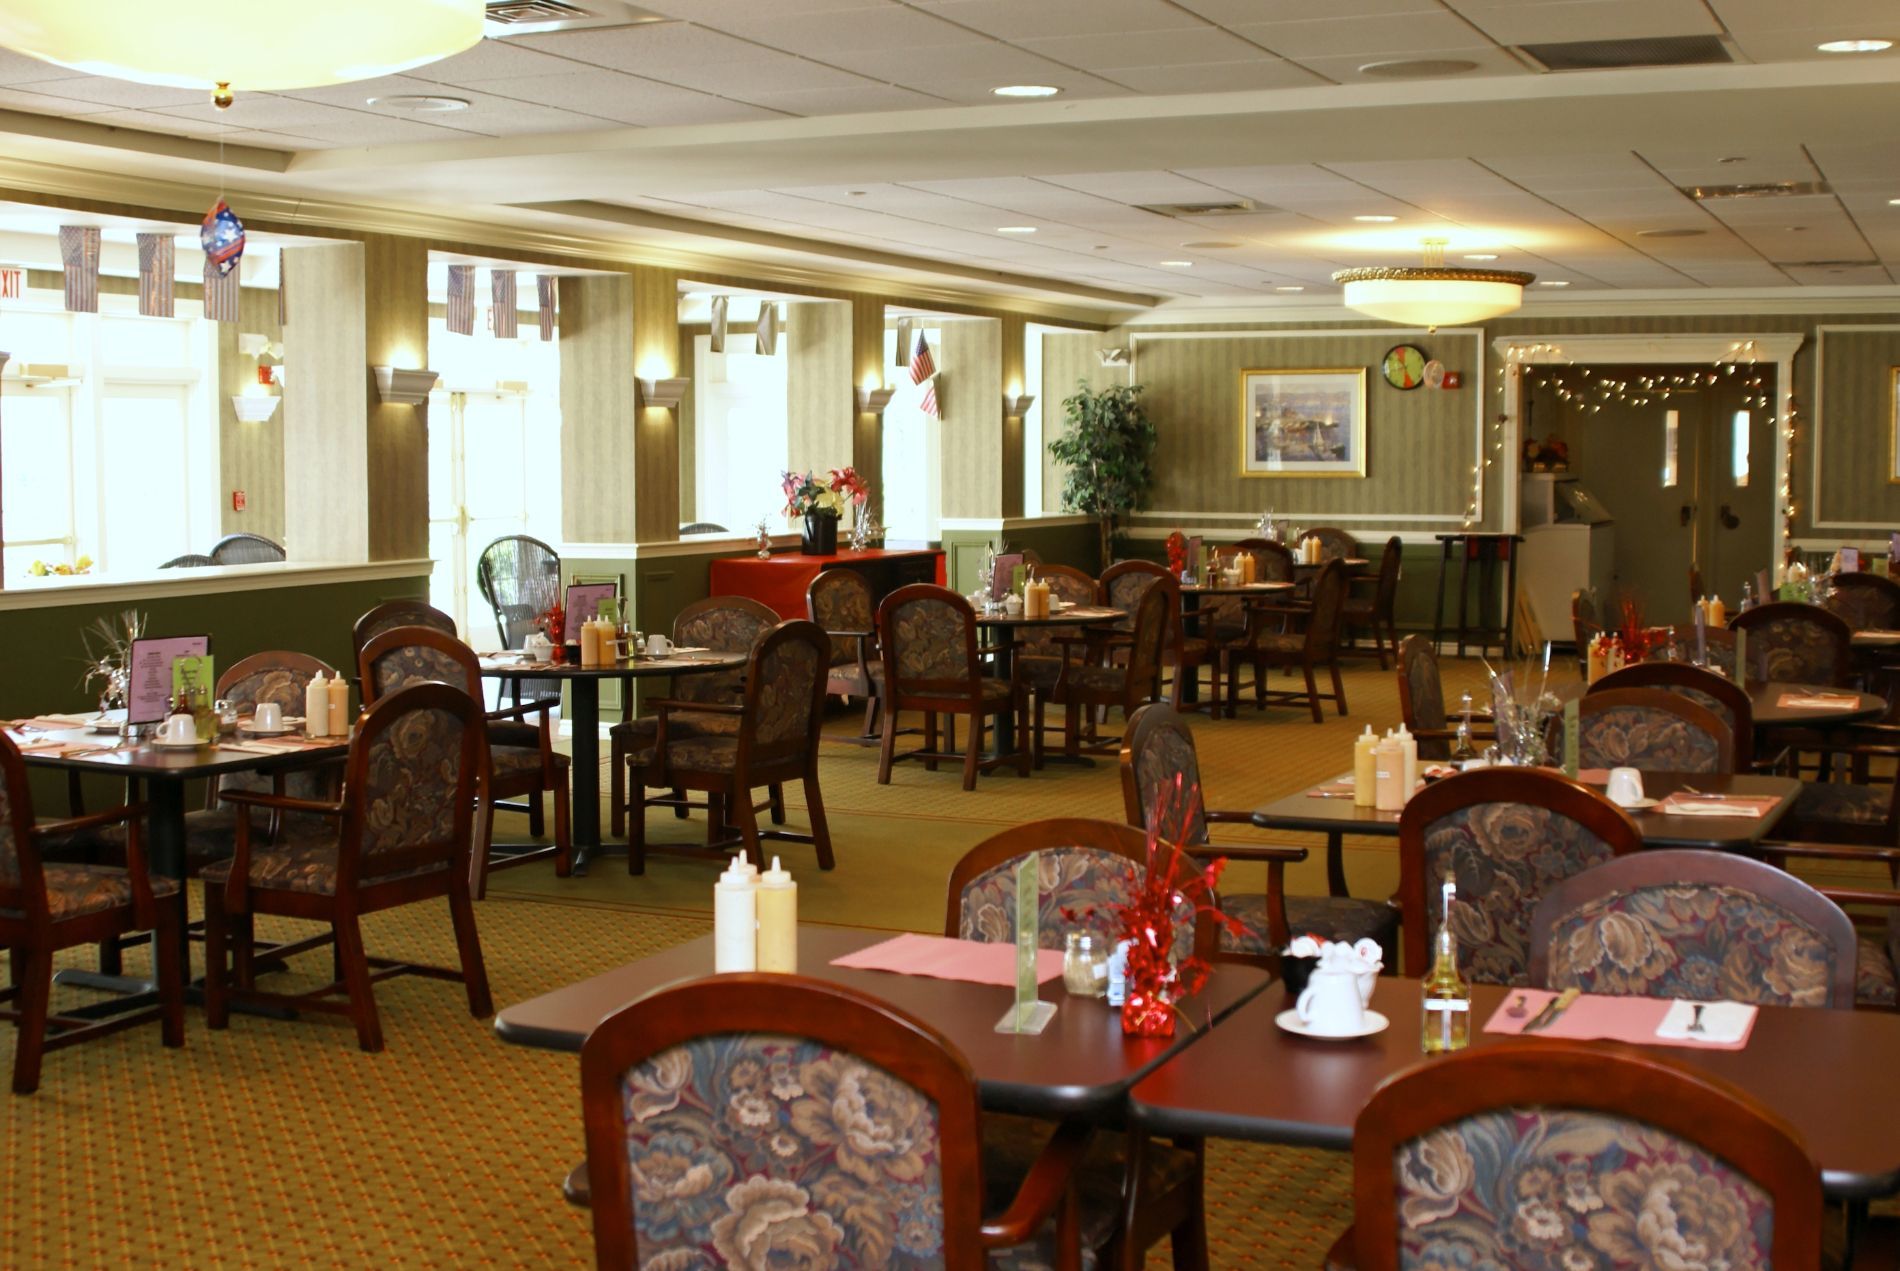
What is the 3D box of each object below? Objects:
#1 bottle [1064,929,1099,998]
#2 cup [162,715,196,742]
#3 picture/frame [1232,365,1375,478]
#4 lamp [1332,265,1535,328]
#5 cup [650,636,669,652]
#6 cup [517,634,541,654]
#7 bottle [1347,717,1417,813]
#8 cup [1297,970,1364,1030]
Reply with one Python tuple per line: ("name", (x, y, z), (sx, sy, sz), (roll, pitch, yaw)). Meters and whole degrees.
("bottle", (0.260, 0.619, 2.918), (0.068, 0.117, 0.153), (0, 7, 7))
("cup", (-2.755, 0.339, 5.419), (0.119, 0.083, 0.089), (-2, -3, 34))
("picture/frame", (3.817, -2.310, 16.016), (1.288, 0.983, 0.102), (1, 5, 8))
("lamp", (3.594, -2.581, 11.253), (1.303, 0.401, 0.672), (0, 7, 3))
("cup", (-1.522, 0.045, 7.958), (0.073, 0.087, 0.131), (-2, 0, 22))
("cup", (-2.271, 0.048, 8.180), (0.110, 0.095, 0.138), (2, 4, 5))
("bottle", (1.304, 0.394, 4.533), (0.193, 0.232, 0.429), (1, 7, 16))
("cup", (0.681, 0.649, 2.726), (0.108, 0.098, 0.105), (-1, 1, 0))
